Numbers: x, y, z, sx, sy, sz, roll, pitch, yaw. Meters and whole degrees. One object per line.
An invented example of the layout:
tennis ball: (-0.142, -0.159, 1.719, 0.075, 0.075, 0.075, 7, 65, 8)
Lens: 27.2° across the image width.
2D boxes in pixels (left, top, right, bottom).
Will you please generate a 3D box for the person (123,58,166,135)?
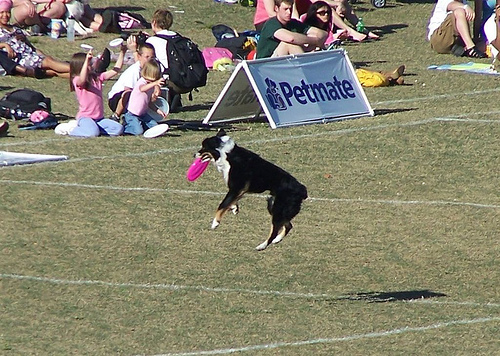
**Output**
person: (-1.723, -1.274, 16.576, 0.962, 1.138, 0.641, 13, 43, 7)

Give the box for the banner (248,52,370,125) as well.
banner: (0.827, -1.438, 16.897, 2.272, 1.172, 0.816, -12, 3, -40)

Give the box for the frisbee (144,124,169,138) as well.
frisbee: (-1.497, -0.744, 16.218, 0.426, 0.216, 0.204, 2, 15, 7)

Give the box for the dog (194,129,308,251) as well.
dog: (0.016, 0.212, 12.338, 1.277, 1.466, 0.510, -1, 16, -3)

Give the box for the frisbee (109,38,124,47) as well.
frisbee: (-2.306, -2.339, 17.716, 0.211, 0.147, 0.299, -2, 15, -7)

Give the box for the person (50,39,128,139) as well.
person: (-2.726, -1.692, 17.613, 1.271, 1.373, 3.464, -2, 15, -7)

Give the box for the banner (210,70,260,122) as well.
banner: (-0.248, -1.330, 16.824, 0.396, 0.725, 1.141, 24, 20, 22)

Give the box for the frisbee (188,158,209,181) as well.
frisbee: (-0.648, -0.099, 12.301, 0.324, 0.158, 0.064, -46, 6, -12)
